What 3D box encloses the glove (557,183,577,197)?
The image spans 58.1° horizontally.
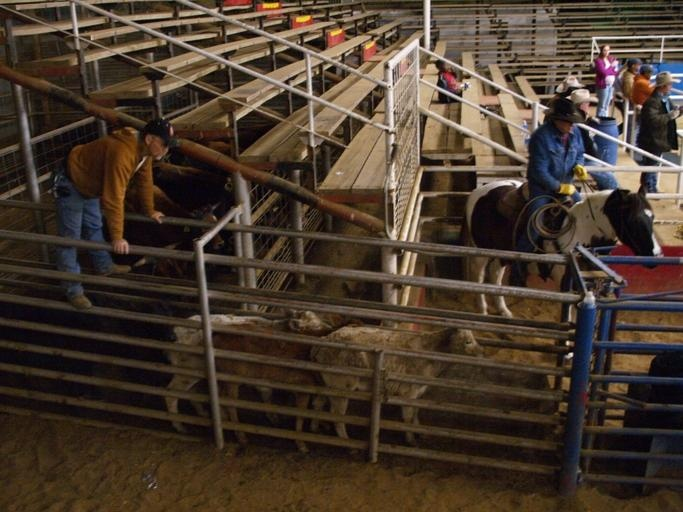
[{"bbox_3d":[2.398,-0.707,6.541,0.170,0.058,0.184,-12,25,-2],"label":"glove"}]

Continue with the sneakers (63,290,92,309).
[{"bbox_3d":[-2.146,0.350,4.995,0.172,0.127,0.215,-3,16,-26],"label":"sneakers"}]

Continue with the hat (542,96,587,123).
[{"bbox_3d":[2.283,-1.451,6.228,0.485,0.147,0.326,11,43,20],"label":"hat"}]

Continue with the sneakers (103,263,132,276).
[{"bbox_3d":[-1.927,0.112,5.253,0.298,0.088,0.078,-6,37,-8],"label":"sneakers"}]

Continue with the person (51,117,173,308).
[{"bbox_3d":[-1.934,-0.354,5.141,0.898,1.596,0.976,-1,18,-21],"label":"person"}]

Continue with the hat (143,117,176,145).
[{"bbox_3d":[-1.473,-0.987,4.896,0.248,0.208,0.179,-1,17,-20],"label":"hat"}]

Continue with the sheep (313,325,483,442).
[{"bbox_3d":[0.374,0.985,4.916,1.284,1.032,0.613,4,17,-2],"label":"sheep"}]
